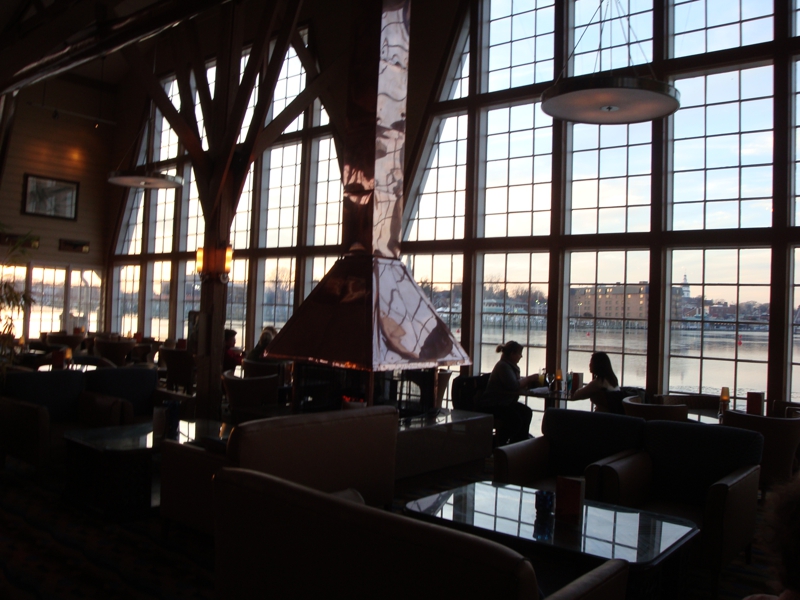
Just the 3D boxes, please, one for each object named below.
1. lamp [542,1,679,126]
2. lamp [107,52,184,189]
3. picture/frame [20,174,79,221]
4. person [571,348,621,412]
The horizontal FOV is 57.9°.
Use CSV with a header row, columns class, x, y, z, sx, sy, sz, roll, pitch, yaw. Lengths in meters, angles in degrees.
class,x,y,z,sx,sy,sz,roll,pitch,yaw
lamp,2.211,-2.492,7.670,0.860,1.079,0.915,9,-14,-27
lamp,-5.184,-3.092,13.827,1.681,2.171,1.776,-2,-2,-2
picture/frame,-8.889,-2.564,17.958,1.049,1.014,0.090,4,0,-31
person,2.286,1.065,8.486,0.504,1.082,0.477,3,22,17
